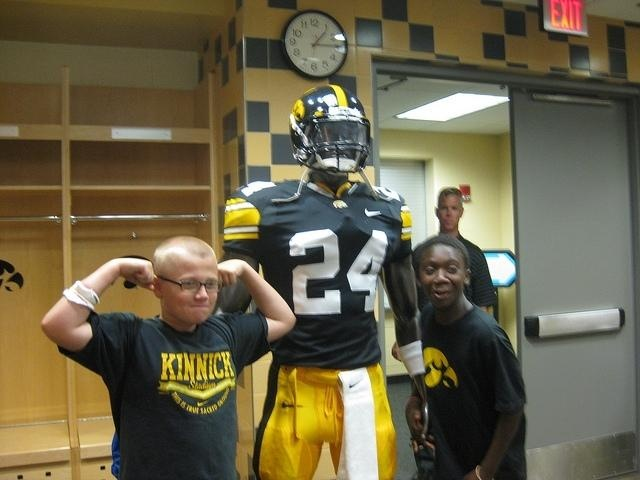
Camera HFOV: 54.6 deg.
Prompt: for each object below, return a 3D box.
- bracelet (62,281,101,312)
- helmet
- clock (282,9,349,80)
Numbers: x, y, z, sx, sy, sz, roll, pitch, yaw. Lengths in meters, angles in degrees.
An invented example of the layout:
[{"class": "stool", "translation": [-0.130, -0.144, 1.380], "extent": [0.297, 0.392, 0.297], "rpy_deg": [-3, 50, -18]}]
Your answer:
[{"class": "bracelet", "translation": [-0.799, 0.195, 2.088], "extent": [0.090, 0.059, 0.106], "rpy_deg": [32, -6, -7]}, {"class": "helmet", "translation": [0.035, -0.486, 2.648], "extent": [0.309, 0.352, 0.404], "rpy_deg": [-2, 12, -27]}, {"class": "clock", "translation": [-0.041, -1.088, 3.458], "extent": [0.313, 0.339, 0.045], "rpy_deg": [15, -4, -19]}]
